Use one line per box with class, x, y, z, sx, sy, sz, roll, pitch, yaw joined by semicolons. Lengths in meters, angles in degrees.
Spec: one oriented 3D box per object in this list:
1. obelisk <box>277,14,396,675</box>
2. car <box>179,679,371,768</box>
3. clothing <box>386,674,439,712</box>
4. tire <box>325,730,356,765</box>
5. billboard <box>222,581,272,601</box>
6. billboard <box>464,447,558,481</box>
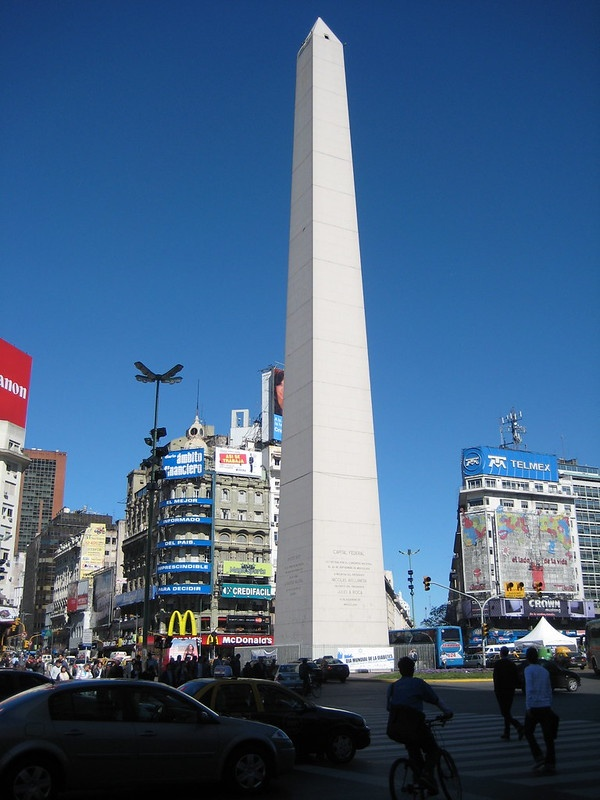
obelisk;1.470;-6.100;45.631;5.691;44.930;4.137;-3;-15;5
car;-0.287;4.462;10.254;2.921;1.268;1.349;4;-13;-18
clothing;1.073;2.829;6.708;0.467;0.315;0.539;-1;-15;-4
tire;0.581;5.053;10.193;0.476;0.479;0.170;-9;-6;-34
billboard;-6.512;23.510;85.620;1.653;1.963;7.098;-16;-21;42
billboard;37.663;12.154;129.328;15.132;4.895;3.869;7;-22;-14
